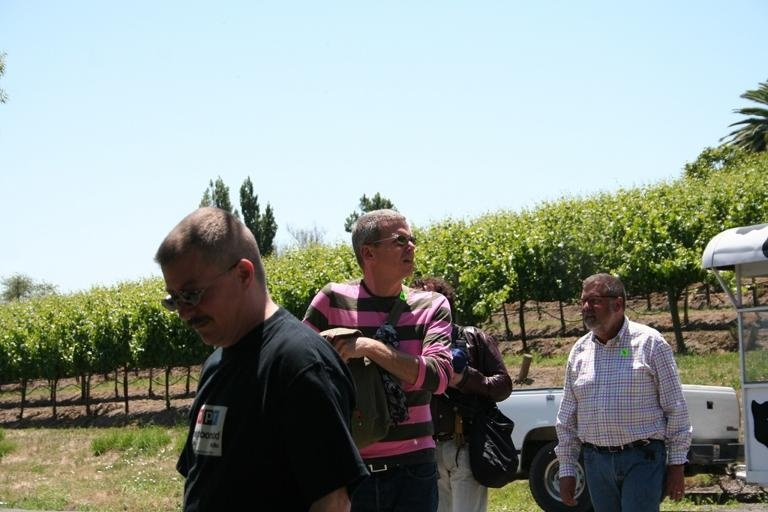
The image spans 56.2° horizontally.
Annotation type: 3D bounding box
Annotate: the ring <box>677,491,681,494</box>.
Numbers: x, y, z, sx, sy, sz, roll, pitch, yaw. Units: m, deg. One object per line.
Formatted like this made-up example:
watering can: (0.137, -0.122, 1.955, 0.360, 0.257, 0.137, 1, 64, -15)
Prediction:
ring: (3.032, 2.437, 7.364, 0.029, 0.035, 0.030, 0, 0, 0)
